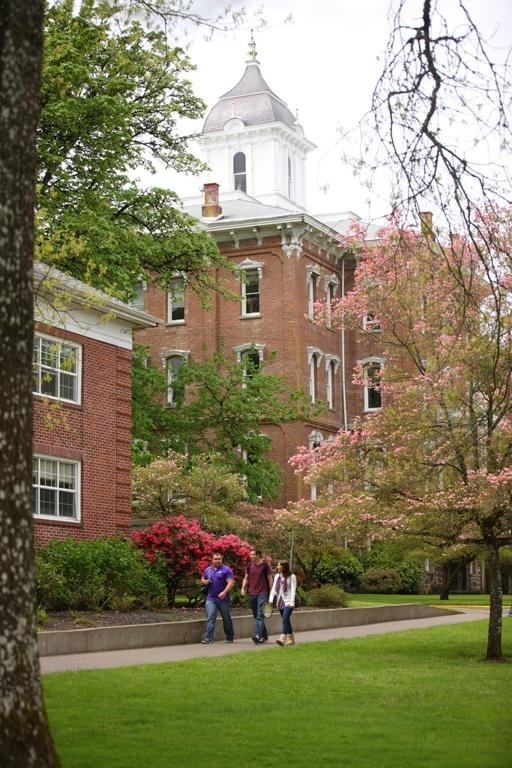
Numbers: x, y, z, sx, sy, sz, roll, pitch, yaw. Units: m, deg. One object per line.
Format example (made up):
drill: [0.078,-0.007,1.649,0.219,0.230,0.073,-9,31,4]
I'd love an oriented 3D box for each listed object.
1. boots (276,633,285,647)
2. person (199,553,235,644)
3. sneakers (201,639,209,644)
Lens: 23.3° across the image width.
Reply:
boots: [0.385,4.185,20.208,0.094,0.227,0.155,0,40,20]
person: [-0.652,3.606,21.036,0.518,1.521,1.519,-1,-6,-2]
sneakers: [-0.851,4.259,20.728,0.073,0.090,0.242,0,-6,-17]
